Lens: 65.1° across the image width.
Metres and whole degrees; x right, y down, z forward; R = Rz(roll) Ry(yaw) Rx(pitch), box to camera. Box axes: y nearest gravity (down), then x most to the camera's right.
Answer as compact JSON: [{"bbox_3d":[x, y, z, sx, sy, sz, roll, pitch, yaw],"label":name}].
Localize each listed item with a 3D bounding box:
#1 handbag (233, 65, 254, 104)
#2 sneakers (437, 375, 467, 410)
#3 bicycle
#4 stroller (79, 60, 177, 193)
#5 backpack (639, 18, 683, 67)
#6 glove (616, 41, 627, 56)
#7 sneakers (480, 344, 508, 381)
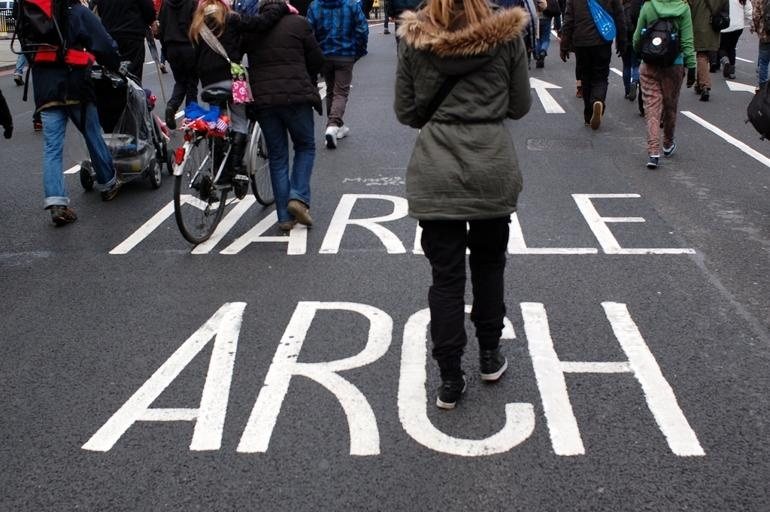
[{"bbox_3d":[-1.539,-1.846,6.414,0.334,0.439,0.152,-2,1,-28],"label":"handbag"},{"bbox_3d":[0.429,0.852,3.833,0.121,0.123,0.294,-1,30,14],"label":"sneakers"},{"bbox_3d":[-1.979,-1.079,6.669,0.893,1.173,1.910,1,26,17],"label":"bicycle"},{"bbox_3d":[-3.506,-1.792,8.054,0.968,1.614,1.894,-1,18,-5],"label":"stroller"},{"bbox_3d":[3.814,-2.911,8.220,0.509,0.677,0.400,14,-5,36],"label":"backpack"},{"bbox_3d":[4.560,-3.999,11.526,0.153,0.177,0.479,20,28,4],"label":"glove"},{"bbox_3d":[0.763,0.670,4.145,0.142,0.226,0.360,1,18,24],"label":"sneakers"}]
